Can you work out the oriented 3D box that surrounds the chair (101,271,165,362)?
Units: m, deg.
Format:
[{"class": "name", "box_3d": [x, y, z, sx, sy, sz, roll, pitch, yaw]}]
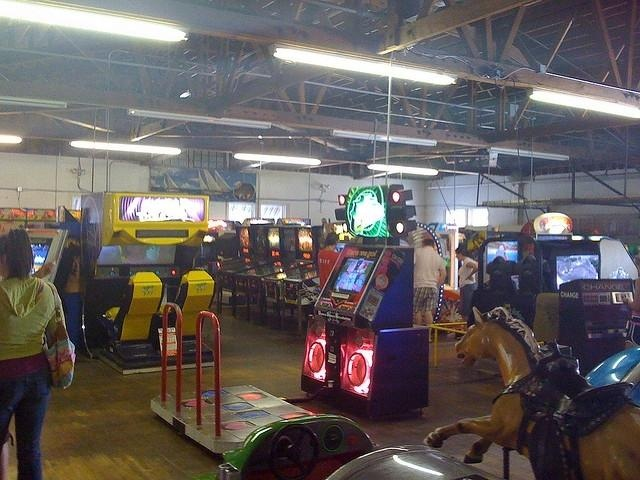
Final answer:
[{"class": "chair", "box_3d": [-2.618, 1.083, 7.884, 0.633, 1.284, 0.907, 0, 2, -29]}]

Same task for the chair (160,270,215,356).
[{"class": "chair", "box_3d": [-1.808, 0.931, 8.017, 0.481, 0.989, 0.653, 0, 2, -26]}]

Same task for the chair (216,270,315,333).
[{"class": "chair", "box_3d": [-1.109, 1.183, 11.713, 1.375, 1.047, 3.977, 0, 2, -19]}]

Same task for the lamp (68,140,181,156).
[{"class": "lamp", "box_3d": [-3.940, -1.845, 11.467, 0.973, 0.275, 2.100, 2, 3, 33]}]

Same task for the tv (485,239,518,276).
[{"class": "tv", "box_3d": [2.929, 0.289, 9.141, 0.555, 0.605, 0.058, 3, -18, -8]}]
